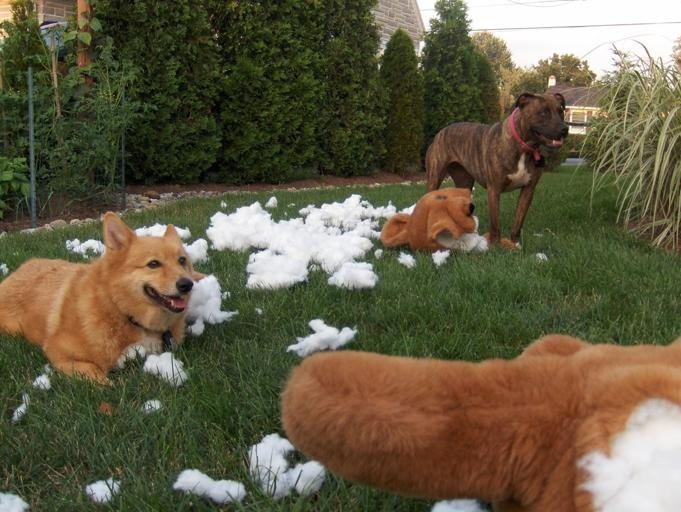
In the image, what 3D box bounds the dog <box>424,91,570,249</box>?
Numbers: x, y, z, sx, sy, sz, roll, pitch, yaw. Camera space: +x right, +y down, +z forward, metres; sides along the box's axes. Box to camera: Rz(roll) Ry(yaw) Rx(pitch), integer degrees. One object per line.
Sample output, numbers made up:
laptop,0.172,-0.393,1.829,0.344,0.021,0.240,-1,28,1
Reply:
dog,1.751,-0.992,8.577,0.637,1.789,2.241,-3,7,-32
